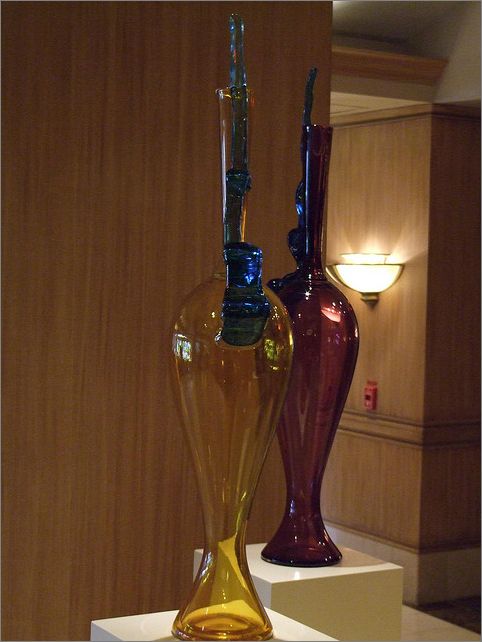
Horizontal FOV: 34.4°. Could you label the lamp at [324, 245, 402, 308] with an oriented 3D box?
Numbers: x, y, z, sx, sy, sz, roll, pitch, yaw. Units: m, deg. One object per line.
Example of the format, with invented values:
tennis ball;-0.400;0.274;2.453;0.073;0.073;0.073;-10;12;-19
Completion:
lamp;0.645;-0.195;3.914;0.388;0.227;0.369;0;-4;-33
